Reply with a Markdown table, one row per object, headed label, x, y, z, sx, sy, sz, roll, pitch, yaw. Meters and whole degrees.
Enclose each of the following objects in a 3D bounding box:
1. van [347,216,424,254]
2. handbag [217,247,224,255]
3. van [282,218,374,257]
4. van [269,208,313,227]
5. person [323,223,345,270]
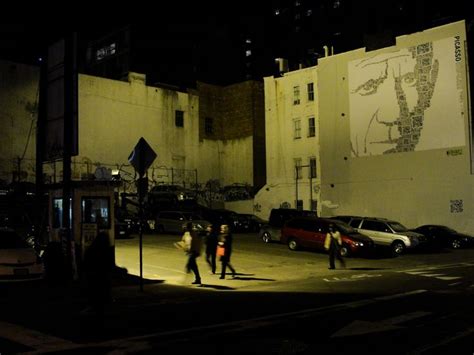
| label | x | y | z | sx | sy | sz | roll | pitch | yaw |
| --- | --- | --- | --- | --- | --- | --- | --- | --- | --- |
| van | 8.601 | 3.218 | 30.948 | 3.820 | 1.560 | 1.847 | 1 | 0 | 40 |
| handbag | -0.626 | 3.055 | 22.218 | 0.335 | 0.342 | 0.335 | 2 | -2 | -26 |
| van | 5.022 | 3.144 | 29.484 | 4.332 | 1.535 | 2.103 | -3 | -4 | 38 |
| van | 3.246 | 2.456 | 34.509 | 2.136 | 1.255 | 1.354 | -4 | -3 | 21 |
| person | 4.464 | 3.186 | 24.275 | 0.844 | 2.085 | 0.729 | 0 | 1 | 11 |
